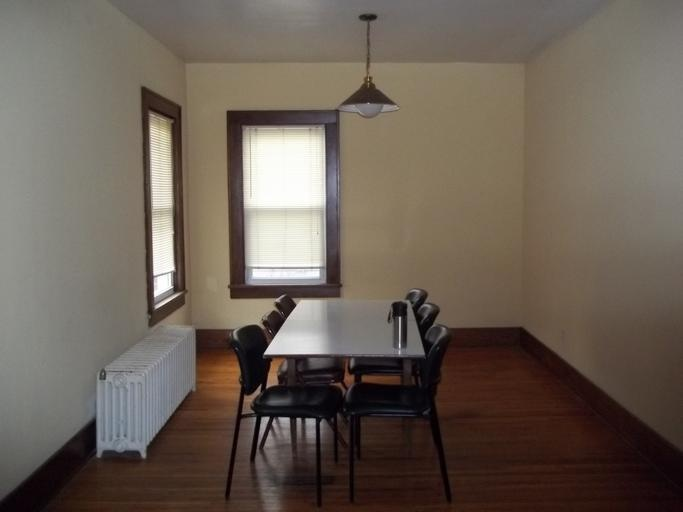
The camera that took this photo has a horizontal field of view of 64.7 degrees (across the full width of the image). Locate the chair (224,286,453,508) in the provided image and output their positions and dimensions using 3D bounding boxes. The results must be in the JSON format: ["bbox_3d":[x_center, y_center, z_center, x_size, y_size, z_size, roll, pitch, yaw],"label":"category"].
[{"bbox_3d":[0.014,0.940,3.899,1.531,1.207,1.057,1,11,8],"label":"chair"}]

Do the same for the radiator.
[{"bbox_3d":[-1.627,1.104,4.502,0.442,0.676,1.043,1,11,7],"label":"radiator"}]

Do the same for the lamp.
[{"bbox_3d":[0.221,-1.562,4.491,0.527,0.806,0.506,-9,12,-43],"label":"lamp"}]
